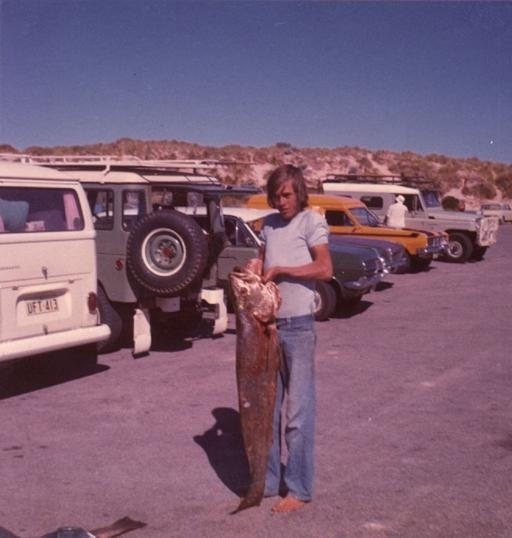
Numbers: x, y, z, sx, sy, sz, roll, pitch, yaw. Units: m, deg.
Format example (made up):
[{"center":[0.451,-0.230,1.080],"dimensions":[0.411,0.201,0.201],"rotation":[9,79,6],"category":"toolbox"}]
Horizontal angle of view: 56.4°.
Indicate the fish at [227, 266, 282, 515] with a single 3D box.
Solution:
[{"center":[0.001,0.593,2.375],"dimensions":[0.236,1.189,0.214],"rotation":[0,2,3],"category":"fish"}]
